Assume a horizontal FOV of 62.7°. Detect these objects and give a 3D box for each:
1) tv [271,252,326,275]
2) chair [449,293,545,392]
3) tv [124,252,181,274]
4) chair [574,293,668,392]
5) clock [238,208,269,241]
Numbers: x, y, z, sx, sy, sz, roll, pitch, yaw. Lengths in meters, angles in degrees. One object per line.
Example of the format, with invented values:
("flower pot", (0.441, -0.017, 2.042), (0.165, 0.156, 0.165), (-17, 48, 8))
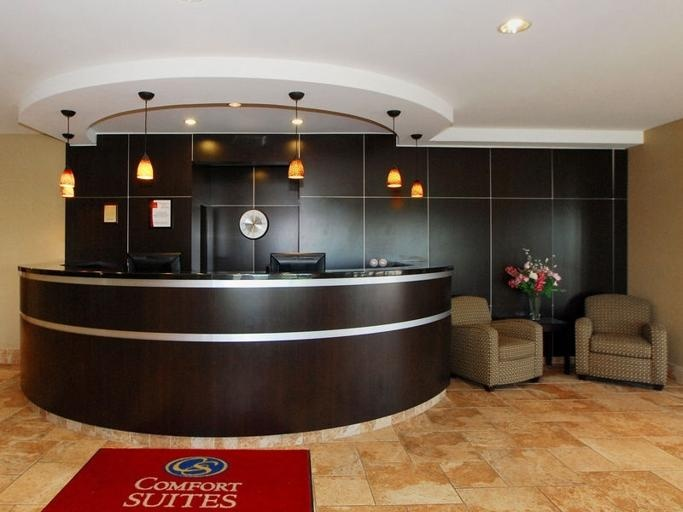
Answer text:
("tv", (-0.470, 0.071, 5.971), (0.469, 0.228, 0.324), (0, 1, -5))
("chair", (1.899, 1.117, 6.844), (1.078, 1.125, 1.130), (1, -6, -26))
("tv", (-1.985, 0.082, 5.893), (0.526, 0.179, 0.276), (0, 14, -4))
("chair", (3.616, 1.083, 7.310), (1.098, 1.221, 1.171), (-1, -12, 28))
("clock", (-1.251, -0.459, 8.018), (0.421, 0.402, 0.412), (1, -3, 0))
